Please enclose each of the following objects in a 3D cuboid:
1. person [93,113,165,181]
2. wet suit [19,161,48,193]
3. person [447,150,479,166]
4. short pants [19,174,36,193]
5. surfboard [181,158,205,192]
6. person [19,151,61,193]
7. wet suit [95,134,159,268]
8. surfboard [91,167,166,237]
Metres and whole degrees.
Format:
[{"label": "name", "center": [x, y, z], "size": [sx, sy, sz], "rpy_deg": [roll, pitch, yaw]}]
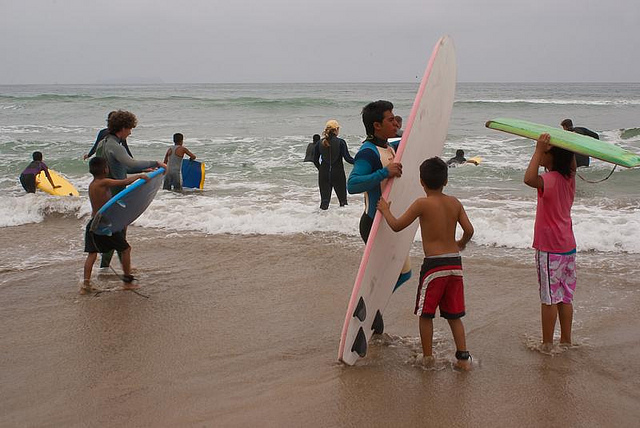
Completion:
[{"label": "person", "center": [-2.487, -0.692, 7.287], "size": [0.781, 1.285, 0.845], "rpy_deg": [-7, 15, -24]}, {"label": "wet suit", "center": [-5.996, -0.779, 11.433], "size": [0.431, 0.721, 0.867], "rpy_deg": [-5, 15, -28]}, {"label": "person", "center": [3.702, -1.452, 14.599], "size": [0.564, 0.250, 0.705], "rpy_deg": [3, 3, 5]}, {"label": "short pants", "center": [-6.144, -0.666, 11.523], "size": [0.291, 0.207, 0.601], "rpy_deg": [18, -32, -11]}, {"label": "surfboard", "center": [-2.955, -0.933, 12.484], "size": [0.872, 0.632, 0.095], "rpy_deg": [10, 8, 43]}, {"label": "person", "center": [-5.819, -0.856, 11.332], "size": [0.599, 0.933, 1.252], "rpy_deg": [-7, 17, -35]}, {"label": "wet suit", "center": [-2.614, -0.132, 7.203], "size": [0.913, 1.824, 0.509], "rpy_deg": [13, 17, 35]}, {"label": "surfboard", "center": [-2.378, -0.160, 6.797], "size": [0.421, 0.864, 0.832], "rpy_deg": [16, 19, 42]}]
